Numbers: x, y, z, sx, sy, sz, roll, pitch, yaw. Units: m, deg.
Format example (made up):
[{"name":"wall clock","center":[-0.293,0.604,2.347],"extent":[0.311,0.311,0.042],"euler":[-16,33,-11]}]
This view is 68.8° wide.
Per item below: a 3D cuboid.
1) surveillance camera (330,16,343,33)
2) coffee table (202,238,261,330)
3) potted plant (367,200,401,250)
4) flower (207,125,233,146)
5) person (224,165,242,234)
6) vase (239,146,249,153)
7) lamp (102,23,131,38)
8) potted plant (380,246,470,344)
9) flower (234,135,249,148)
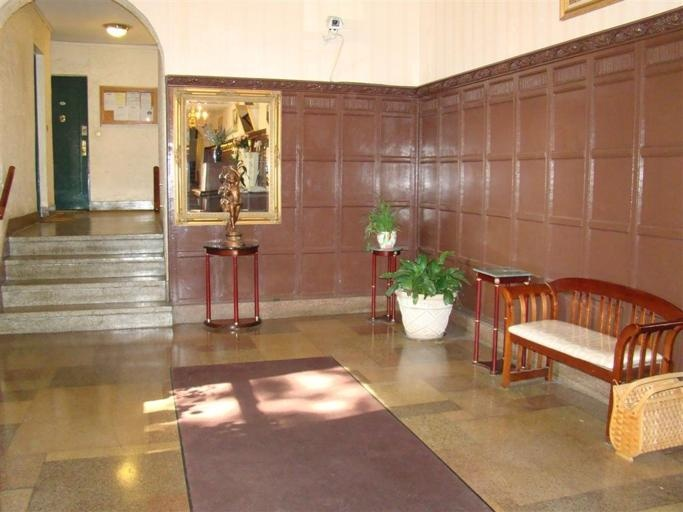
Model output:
[{"name":"surveillance camera","center":[-0.075,-2.901,6.278],"extent":[0.202,0.210,0.049],"euler":[-5,12,-29]},{"name":"coffee table","center":[-1.326,0.318,6.044],"extent":[0.695,1.062,0.677],"euler":[-2,10,-12]},{"name":"potted plant","center":[0.551,-0.358,6.177],"extent":[0.437,0.533,0.546],"euler":[-7,6,-4]},{"name":"flower","center":[-1.474,-1.456,6.062],"extent":[0.231,0.146,0.232],"euler":[5,13,36]},{"name":"person","center":[-1.283,-0.604,5.833],"extent":[0.220,0.804,0.238],"euler":[3,11,16]},{"name":"vase","center":[-1.200,-1.308,6.193],"extent":[0.079,0.051,0.074],"euler":[0,2,-11]},{"name":"lamp","center":[-4.138,-4.163,9.210],"extent":[0.459,0.141,0.369],"euler":[1,9,4]},{"name":"potted plant","center":[1.062,0.433,5.788],"extent":[1.028,0.768,0.956],"euler":[1,0,-45]},{"name":"flower","center":[-1.222,-1.401,6.171],"extent":[0.162,0.129,0.158],"euler":[2,5,21]}]
